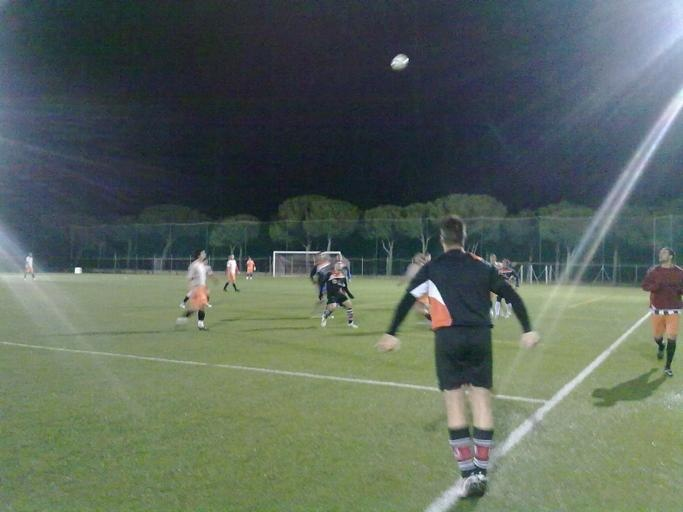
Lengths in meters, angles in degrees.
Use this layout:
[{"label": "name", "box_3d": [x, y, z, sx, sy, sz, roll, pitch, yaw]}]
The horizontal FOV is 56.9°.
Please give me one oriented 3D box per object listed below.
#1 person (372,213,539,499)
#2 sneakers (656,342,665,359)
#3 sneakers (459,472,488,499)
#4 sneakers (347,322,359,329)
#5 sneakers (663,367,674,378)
[{"label": "person", "box_3d": [1.274, 1.016, 6.714, 1.471, 2.803, 0.892, 4, 9, 18]}, {"label": "sneakers", "box_3d": [5.989, 1.775, 11.816, 0.105, 0.316, 0.234, 3, -39, 15]}, {"label": "sneakers", "box_3d": [1.393, 2.349, 6.516, 0.346, 0.241, 0.132, -2, 9, -21]}, {"label": "sneakers", "box_3d": [0.279, 1.707, 15.712, 0.306, 0.224, 0.107, -2, 6, -10]}, {"label": "sneakers", "box_3d": [5.413, 1.922, 10.438, 0.071, 0.096, 0.222, 2, 3, 20]}]
